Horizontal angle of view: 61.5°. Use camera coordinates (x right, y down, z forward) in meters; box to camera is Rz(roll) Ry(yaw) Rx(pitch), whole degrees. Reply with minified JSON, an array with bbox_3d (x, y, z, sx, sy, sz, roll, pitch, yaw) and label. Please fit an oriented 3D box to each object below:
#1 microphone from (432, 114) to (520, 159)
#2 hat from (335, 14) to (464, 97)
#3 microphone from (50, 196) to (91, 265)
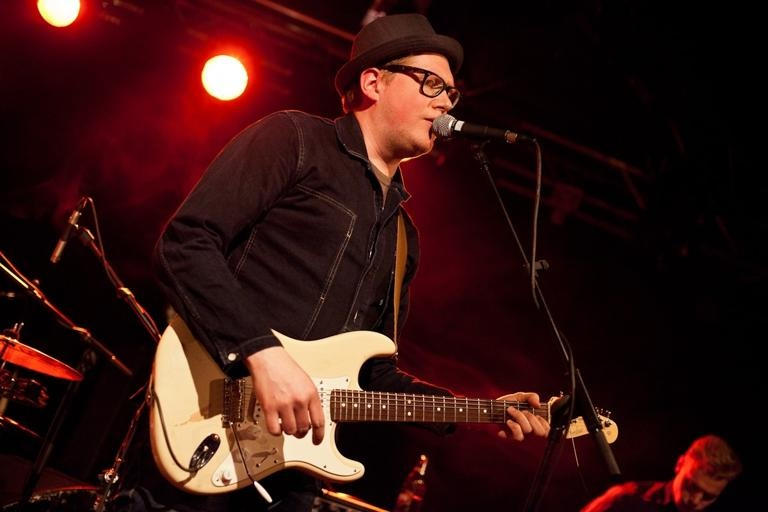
[{"bbox_3d":[0.609,-0.884,4.670,0.739,0.219,0.261,7,-51,26],"label":"microphone"},{"bbox_3d":[0.108,-1.519,4.801,0.649,0.276,0.604,-15,-20,8],"label":"hat"},{"bbox_3d":[-2.899,-0.235,5.929,0.085,0.664,0.091,22,-8,28],"label":"microphone"}]
